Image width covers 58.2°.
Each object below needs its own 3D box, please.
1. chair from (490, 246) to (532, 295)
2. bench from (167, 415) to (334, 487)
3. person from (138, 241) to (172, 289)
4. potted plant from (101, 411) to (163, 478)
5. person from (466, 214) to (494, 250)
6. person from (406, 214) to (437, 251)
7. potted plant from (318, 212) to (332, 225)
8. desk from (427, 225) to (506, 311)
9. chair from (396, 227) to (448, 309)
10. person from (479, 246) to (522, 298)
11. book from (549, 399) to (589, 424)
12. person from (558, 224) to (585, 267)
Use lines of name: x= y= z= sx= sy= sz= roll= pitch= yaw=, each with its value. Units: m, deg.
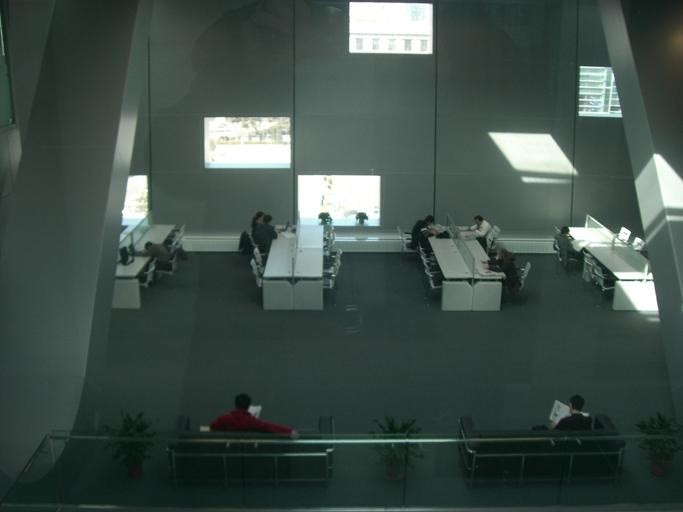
chair: x=3.493 y=0.333 z=12.649 sx=0.622 sy=0.763 sz=0.372 roll=20 pitch=56 yaw=34
bench: x=-0.883 y=2.013 z=6.055 sx=1.634 sy=0.471 sz=0.109 roll=-1 pitch=14 yaw=0
person: x=-3.870 y=0.063 z=13.229 sx=0.610 sy=0.929 sz=0.558 roll=2 pitch=31 yaw=39
potted plant: x=-2.201 y=2.001 z=6.477 sx=0.397 sy=0.527 sz=0.405 roll=1 pitch=37 yaw=-6
person: x=3.261 y=-0.554 z=14.235 sx=0.750 sy=1.195 sz=0.562 roll=-2 pitch=13 yaw=11
person: x=1.965 y=-0.545 z=14.476 sx=0.518 sy=0.816 sz=0.679 roll=12 pitch=8 yaw=-11
potted plant: x=-0.390 y=-0.950 z=15.711 sx=0.318 sy=0.330 sz=0.249 roll=-7 pitch=16 yaw=-5
desk: x=2.540 y=0.318 z=12.477 sx=1.153 sy=0.915 sz=2.148 roll=0 pitch=15 yaw=3
chair: x=1.859 y=-0.035 z=13.707 sx=1.071 sy=0.630 sz=2.713 roll=-8 pitch=41 yaw=-1
person: x=3.333 y=0.446 z=12.424 sx=0.436 sy=1.085 sz=0.715 roll=-18 pitch=16 yaw=-42
book: x=2.697 y=1.900 z=7.470 sx=0.398 sy=0.267 sz=0.418 roll=0 pitch=9 yaw=2
person: x=5.297 y=-0.198 z=14.101 sx=0.592 sy=1.131 sz=0.449 roll=-21 pitch=26 yaw=-22
